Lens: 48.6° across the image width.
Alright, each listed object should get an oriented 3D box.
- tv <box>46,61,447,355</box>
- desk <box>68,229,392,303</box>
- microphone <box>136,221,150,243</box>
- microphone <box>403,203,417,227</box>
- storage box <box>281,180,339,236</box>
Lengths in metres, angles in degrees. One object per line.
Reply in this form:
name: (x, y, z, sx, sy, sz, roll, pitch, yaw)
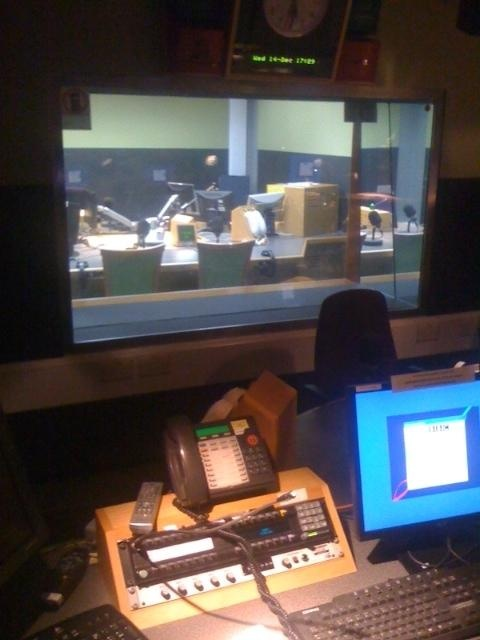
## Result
tv: (-0.024, -0.667, 3.124, 1.934, 1.272, 1.252, -10, 17, -18)
desk: (0.144, -0.329, 3.701, 2.226, 0.410, 0.520, -2, 3, -24)
microphone: (-0.549, -0.495, 2.985, 0.024, 0.114, 0.074, 6, 5, 18)
microphone: (0.961, -0.588, 3.012, 0.028, 0.129, 0.115, -7, 16, -13)
storage box: (0.458, -0.723, 3.511, 0.293, 0.336, 0.321, -9, 11, 15)
